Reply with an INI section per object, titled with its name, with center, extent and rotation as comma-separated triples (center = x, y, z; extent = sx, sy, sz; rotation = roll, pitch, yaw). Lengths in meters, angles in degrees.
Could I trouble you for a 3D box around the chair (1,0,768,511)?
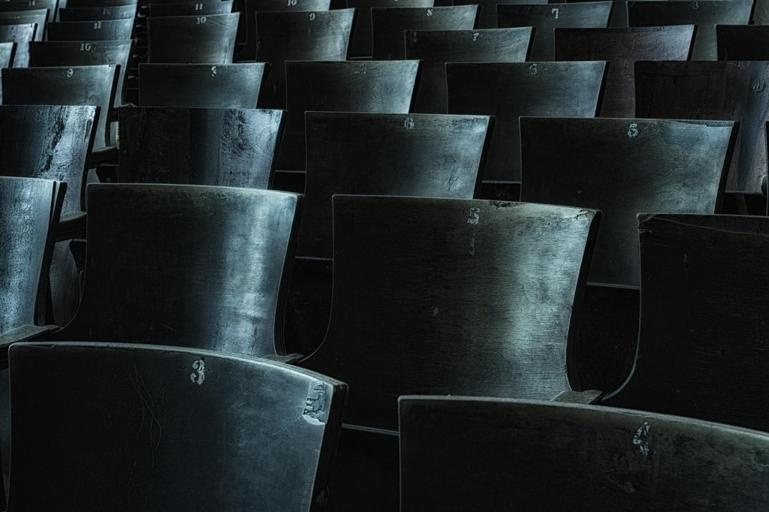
[chair]
center = 0.037, 0.096, 1.477
extent = 0.684, 0.839, 0.979
rotation = 1, 74, 6
